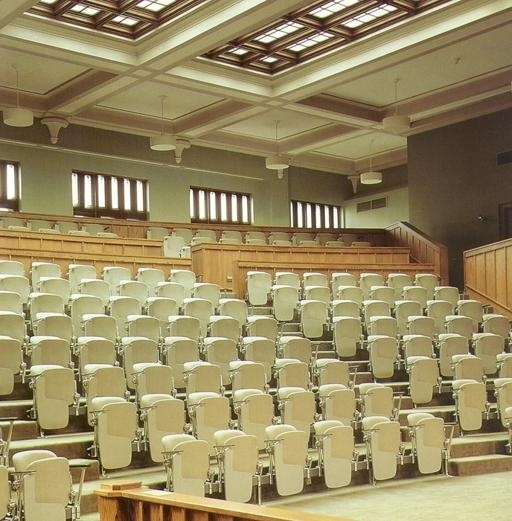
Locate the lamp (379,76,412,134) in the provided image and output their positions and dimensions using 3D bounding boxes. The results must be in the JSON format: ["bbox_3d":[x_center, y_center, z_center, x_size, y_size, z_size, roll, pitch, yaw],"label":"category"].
[{"bbox_3d":[2.817,-3.177,12.746,0.613,1.247,0.580,11,-25,-12],"label":"lamp"}]
